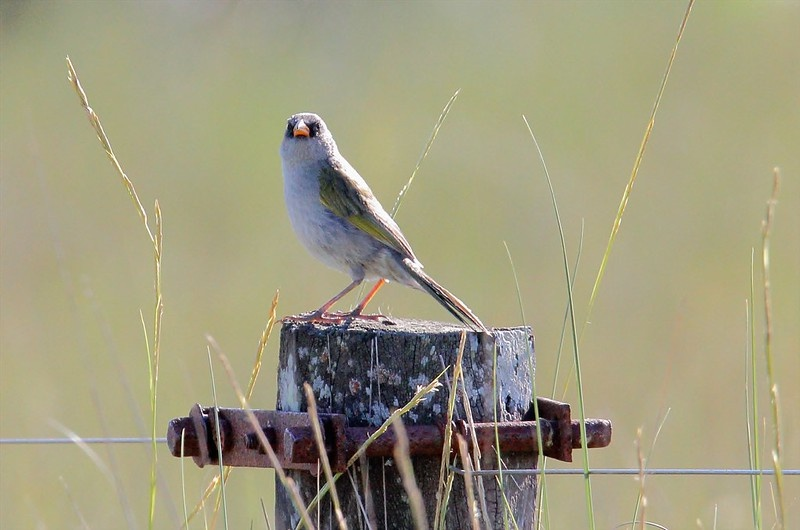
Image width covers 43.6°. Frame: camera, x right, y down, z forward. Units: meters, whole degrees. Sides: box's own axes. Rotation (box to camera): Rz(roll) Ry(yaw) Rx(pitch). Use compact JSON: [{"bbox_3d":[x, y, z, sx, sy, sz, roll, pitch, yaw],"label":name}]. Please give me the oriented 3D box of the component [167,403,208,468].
[{"bbox_3d":[-1.187,0.977,5.664,0.221,0.330,0.275,5,-19,-29],"label":"component"}]
